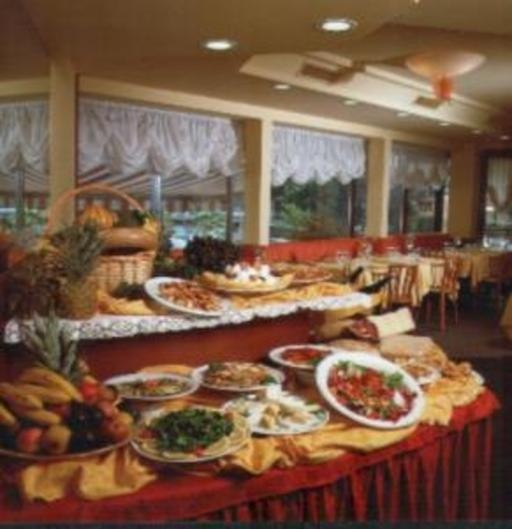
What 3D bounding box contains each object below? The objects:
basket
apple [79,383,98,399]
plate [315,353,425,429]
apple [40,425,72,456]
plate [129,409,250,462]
[{"bbox_3d":[-0.306,-0.065,1.108,0.306,0.216,0.187,0,15,-8],"label":"basket"},{"bbox_3d":[-0.376,0.285,1.094,0.037,0.029,0.033,-2,5,-21],"label":"apple"},{"bbox_3d":[0.287,0.315,1.233,0.275,0.159,0.137,0,5,-2],"label":"plate"},{"bbox_3d":[-0.432,0.379,1.057,0.047,0.045,0.047,25,45,6],"label":"apple"},{"bbox_3d":[-0.154,0.375,1.072,0.172,0.025,0.131,-2,20,1],"label":"plate"}]
